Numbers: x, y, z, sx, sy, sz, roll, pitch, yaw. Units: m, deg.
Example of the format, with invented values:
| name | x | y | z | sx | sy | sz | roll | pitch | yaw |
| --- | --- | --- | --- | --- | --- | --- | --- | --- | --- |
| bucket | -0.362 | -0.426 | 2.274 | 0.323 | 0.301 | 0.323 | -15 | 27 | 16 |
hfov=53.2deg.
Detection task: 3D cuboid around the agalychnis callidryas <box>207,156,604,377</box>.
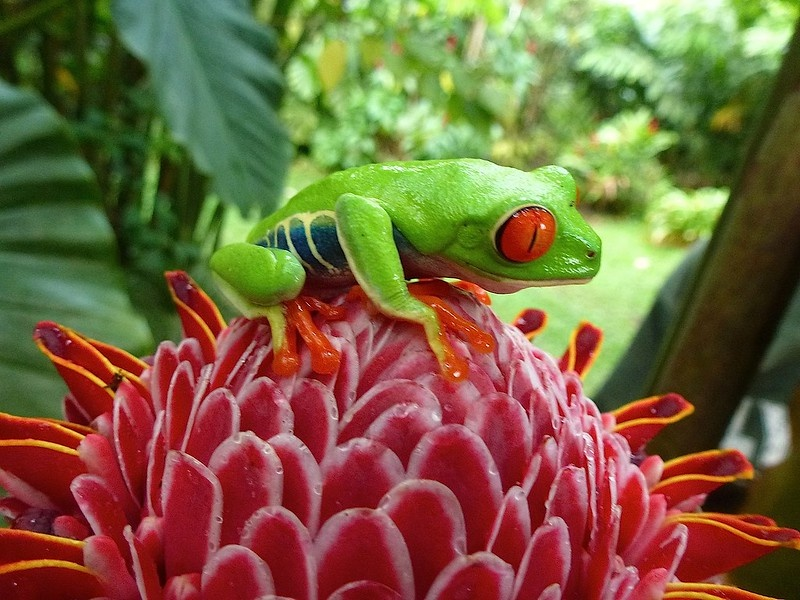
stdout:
| name | x | y | z | sx | sy | sz | roll | pitch | yaw |
| --- | --- | --- | --- | --- | --- | --- | --- | --- | --- |
| agalychnis callidryas | 0.011 | -0.087 | 0.943 | 0.310 | 0.150 | 0.337 | 22 | 26 | 7 |
